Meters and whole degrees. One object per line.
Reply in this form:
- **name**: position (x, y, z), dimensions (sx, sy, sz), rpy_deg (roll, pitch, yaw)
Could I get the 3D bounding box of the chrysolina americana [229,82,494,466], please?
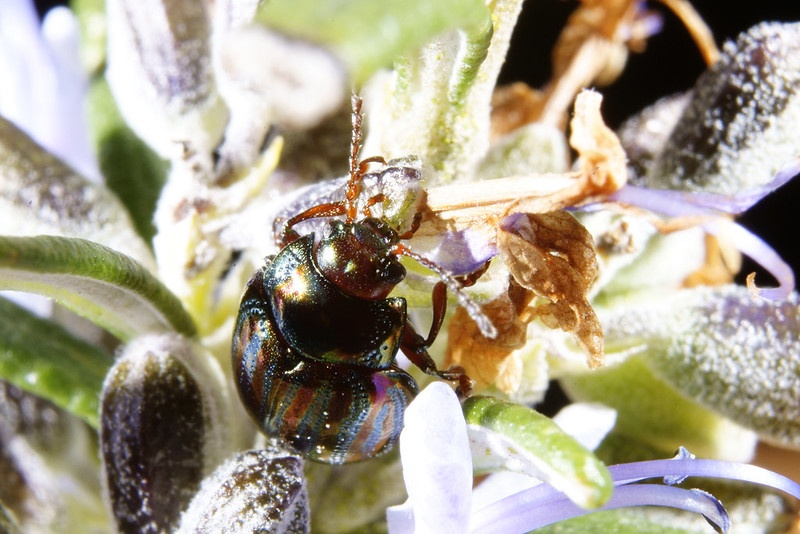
- **chrysolina americana**: position (-0.077, 0.089, 1.127), dimensions (0.308, 0.171, 0.282), rpy_deg (-36, 76, -12)
